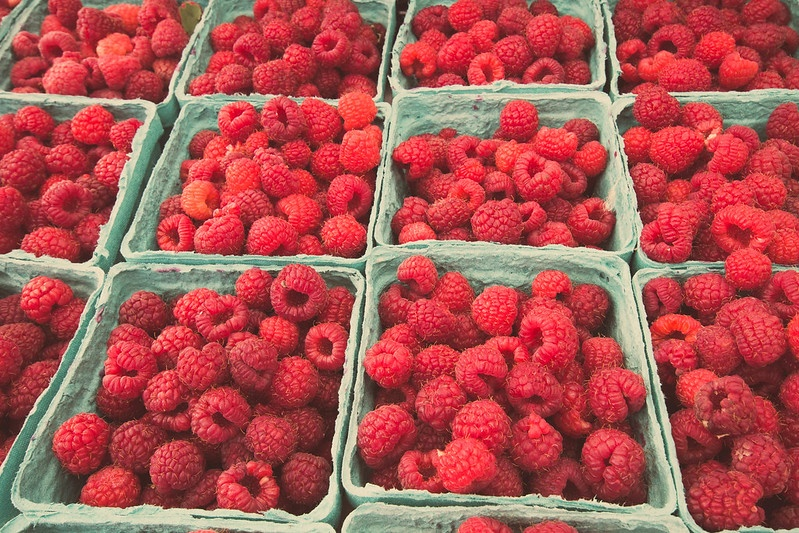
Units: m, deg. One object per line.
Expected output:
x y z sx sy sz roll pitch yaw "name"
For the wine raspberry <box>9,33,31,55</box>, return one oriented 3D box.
-2.891 -1.685 5.578 0.125 0.066 0.174 2 80 -7 "wine raspberry"
